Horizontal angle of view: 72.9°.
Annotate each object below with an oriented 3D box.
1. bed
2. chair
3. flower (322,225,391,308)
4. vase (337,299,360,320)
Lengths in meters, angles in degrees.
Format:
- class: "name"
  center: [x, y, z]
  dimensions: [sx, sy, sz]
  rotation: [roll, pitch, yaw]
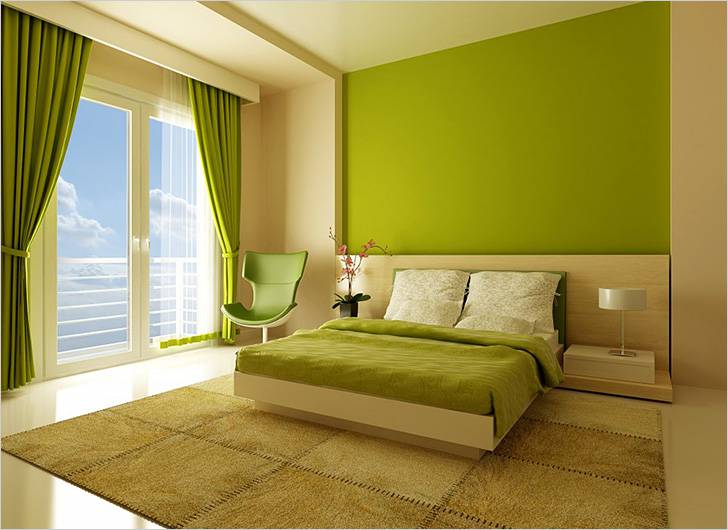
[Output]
- class: "bed"
  center: [0.579, 0.678, 3.940]
  dimensions: [1.745, 0.802, 1.695]
  rotation: [0, 1, 35]
- class: "chair"
  center: [-1.077, 0.480, 5.532]
  dimensions: [0.796, 1.272, 0.912]
  rotation: [0, 2, 14]
- class: "flower"
  center: [-0.105, 0.138, 5.756]
  dimensions: [0.613, 1.006, 0.507]
  rotation: [0, 4, -18]
- class: "vase"
  center: [-0.168, 0.492, 5.541]
  dimensions: [0.179, 0.269, 0.213]
  rotation: [1, -3, -18]
